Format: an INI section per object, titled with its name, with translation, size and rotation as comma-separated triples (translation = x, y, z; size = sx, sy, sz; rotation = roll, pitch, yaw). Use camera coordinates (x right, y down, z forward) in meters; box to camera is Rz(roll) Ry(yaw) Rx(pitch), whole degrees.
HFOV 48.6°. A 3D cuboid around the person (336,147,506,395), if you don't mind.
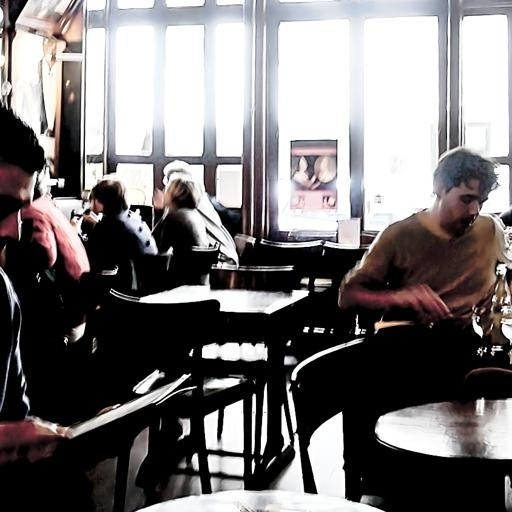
[person]
translation = 0.778, -0.017, 2.477
size = 0.716, 0.931, 0.466
rotation = 0, 3, -8
